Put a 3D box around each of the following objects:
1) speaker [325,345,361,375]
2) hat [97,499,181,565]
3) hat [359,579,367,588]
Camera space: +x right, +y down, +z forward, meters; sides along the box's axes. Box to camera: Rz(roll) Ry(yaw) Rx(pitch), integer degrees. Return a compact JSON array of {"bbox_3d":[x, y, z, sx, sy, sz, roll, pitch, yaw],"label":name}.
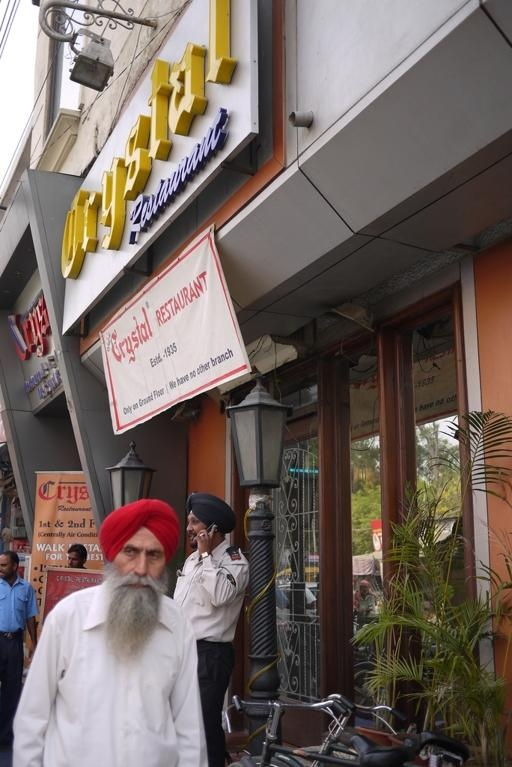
[{"bbox_3d":[0.704,-0.184,4.888,0.216,0.180,0.398,0,-9,-11],"label":"speaker"},{"bbox_3d":[-0.318,0.416,1.831,0.202,0.222,0.172,9,-13,20],"label":"hat"},{"bbox_3d":[0.793,1.481,4.573,0.045,0.056,0.065,-2,-50,6],"label":"hat"}]
